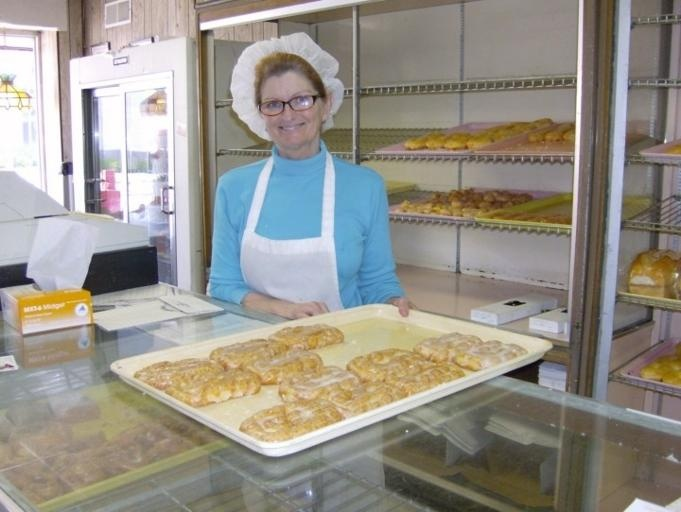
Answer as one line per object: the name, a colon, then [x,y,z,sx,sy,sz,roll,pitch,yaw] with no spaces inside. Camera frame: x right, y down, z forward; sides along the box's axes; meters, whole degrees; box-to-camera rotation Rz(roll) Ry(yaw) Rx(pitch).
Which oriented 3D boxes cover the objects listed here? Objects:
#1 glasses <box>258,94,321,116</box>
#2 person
glasses: [-0.179,-0.526,1.822,0.200,0.071,0.053,-2,15,-5]
person: [-0.160,-0.300,1.939,0.700,0.982,0.518,-2,16,-5]
